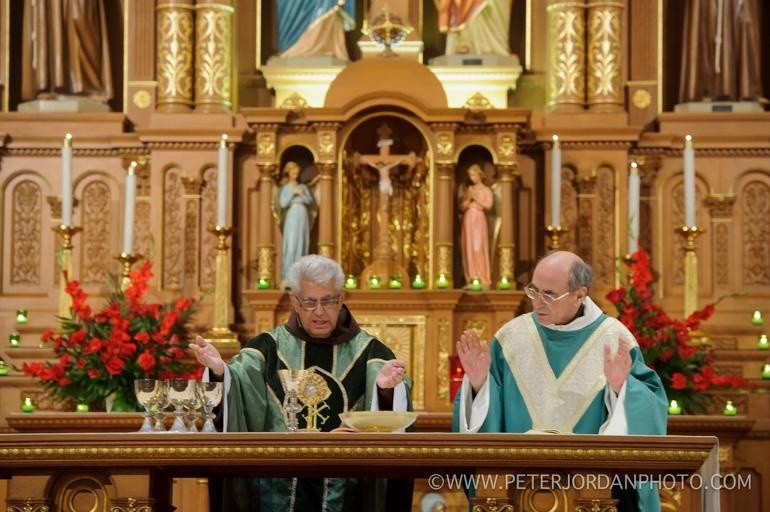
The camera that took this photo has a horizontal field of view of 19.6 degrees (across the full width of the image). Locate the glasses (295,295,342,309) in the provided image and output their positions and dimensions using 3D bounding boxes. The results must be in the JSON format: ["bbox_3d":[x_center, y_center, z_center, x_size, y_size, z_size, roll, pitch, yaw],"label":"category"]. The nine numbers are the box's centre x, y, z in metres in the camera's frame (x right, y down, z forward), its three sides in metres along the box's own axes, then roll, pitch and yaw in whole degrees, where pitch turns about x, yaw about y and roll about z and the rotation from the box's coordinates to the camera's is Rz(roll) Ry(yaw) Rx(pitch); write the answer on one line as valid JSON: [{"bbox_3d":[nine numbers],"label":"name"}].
[{"bbox_3d":[-0.507,0.367,17.361,0.336,0.093,0.144,-1,-6,-8],"label":"glasses"}]

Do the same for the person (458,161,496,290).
[{"bbox_3d":[0.839,-0.243,20.279,0.262,1.128,0.338,-4,5,-45],"label":"person"}]

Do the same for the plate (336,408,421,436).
[{"bbox_3d":[-0.059,1.232,16.737,0.586,0.148,0.241,-2,-6,-1],"label":"plate"}]

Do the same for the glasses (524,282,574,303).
[{"bbox_3d":[1.265,0.300,17.275,0.192,0.059,0.203,19,11,40],"label":"glasses"}]

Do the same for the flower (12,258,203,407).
[{"bbox_3d":[-2.401,0.698,19.557,1.503,1.307,0.717,-1,-6,-15],"label":"flower"}]
